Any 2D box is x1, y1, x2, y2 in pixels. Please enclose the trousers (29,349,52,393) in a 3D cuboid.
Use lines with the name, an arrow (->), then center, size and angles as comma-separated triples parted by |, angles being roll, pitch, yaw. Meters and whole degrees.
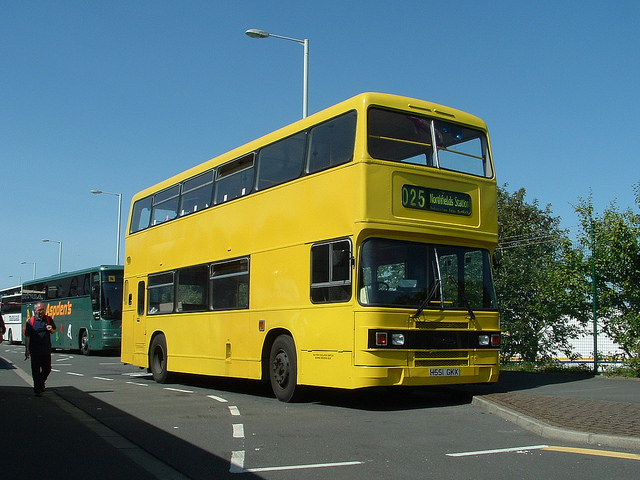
trousers -> -6.601, 3.077, 12.875 | 0.400, 0.988, 0.484 | -7, -11, 37

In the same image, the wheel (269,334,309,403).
wheel -> -0.644, 2.779, 11.902 | 0.693, 1.675, 0.659 | -1, -4, 0

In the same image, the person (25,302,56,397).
person -> -6.841, 2.617, 13.268 | 0.632, 2.200, 1.370 | 4, -10, -27
